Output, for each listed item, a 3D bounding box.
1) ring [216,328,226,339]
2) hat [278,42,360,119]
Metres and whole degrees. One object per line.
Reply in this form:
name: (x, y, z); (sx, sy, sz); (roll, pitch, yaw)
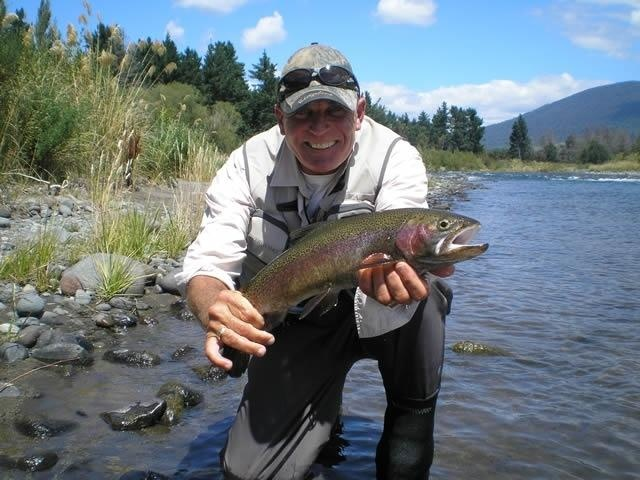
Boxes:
ring: (-0.577, 0.532, 2.693); (0.015, 0.056, 0.056); (44, -22, -11)
hat: (-0.018, -1.214, 3.360); (0.571, 0.441, 0.785); (-5, 25, 7)
